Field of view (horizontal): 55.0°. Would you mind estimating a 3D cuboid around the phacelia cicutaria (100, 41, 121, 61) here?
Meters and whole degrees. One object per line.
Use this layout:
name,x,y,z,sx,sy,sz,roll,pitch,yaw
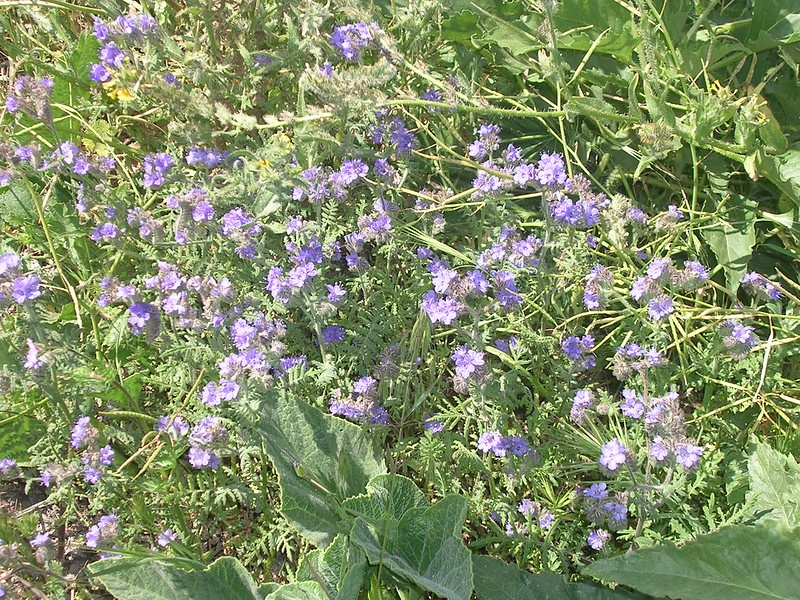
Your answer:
phacelia cicutaria,-1.438,-1.239,3.820,0.111,0.057,0.078,14,41,-24
